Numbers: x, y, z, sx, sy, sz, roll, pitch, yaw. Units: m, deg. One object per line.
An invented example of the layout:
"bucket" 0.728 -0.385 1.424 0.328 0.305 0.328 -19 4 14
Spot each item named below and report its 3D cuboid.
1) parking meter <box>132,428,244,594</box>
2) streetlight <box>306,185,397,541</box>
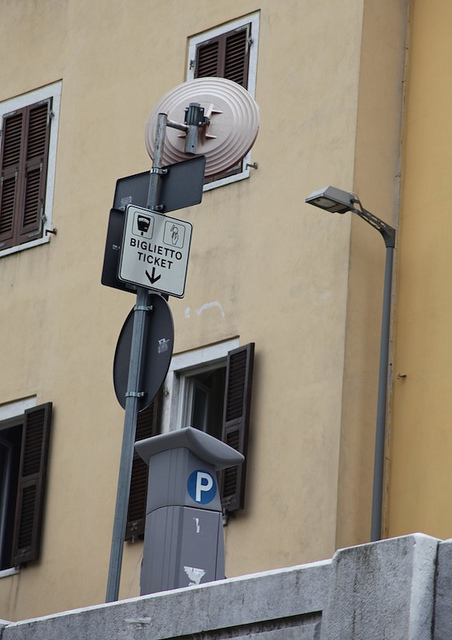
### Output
"parking meter" -0.201 0.896 9.586 0.541 0.602 0.531 -13 6 5
"streetlight" 0.937 0.223 13.305 0.317 1.681 0.932 -7 7 26
